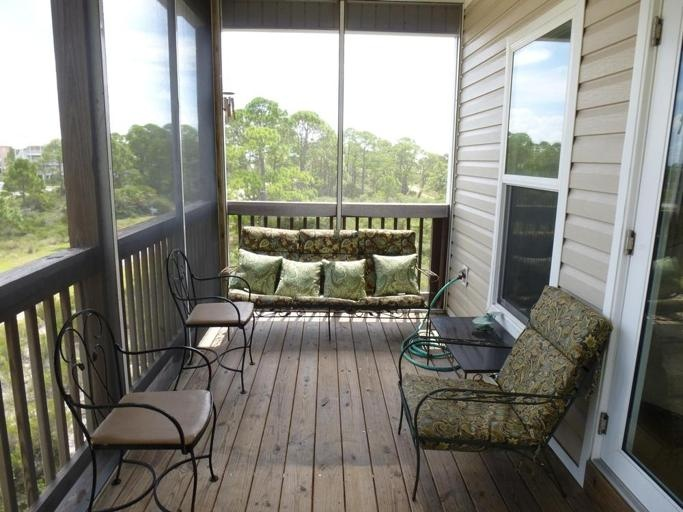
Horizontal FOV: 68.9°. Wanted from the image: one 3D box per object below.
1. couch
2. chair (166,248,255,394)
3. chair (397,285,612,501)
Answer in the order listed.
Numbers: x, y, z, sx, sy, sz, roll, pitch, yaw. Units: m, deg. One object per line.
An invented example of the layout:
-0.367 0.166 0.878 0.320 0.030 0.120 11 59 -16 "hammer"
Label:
-0.118 0.253 5.038 2.009 0.985 0.814 1 9 0 "couch"
-1.062 0.501 4.183 0.708 1.137 0.721 4 12 14 "chair"
0.948 0.762 3.132 1.079 1.070 0.832 0 12 1 "chair"
